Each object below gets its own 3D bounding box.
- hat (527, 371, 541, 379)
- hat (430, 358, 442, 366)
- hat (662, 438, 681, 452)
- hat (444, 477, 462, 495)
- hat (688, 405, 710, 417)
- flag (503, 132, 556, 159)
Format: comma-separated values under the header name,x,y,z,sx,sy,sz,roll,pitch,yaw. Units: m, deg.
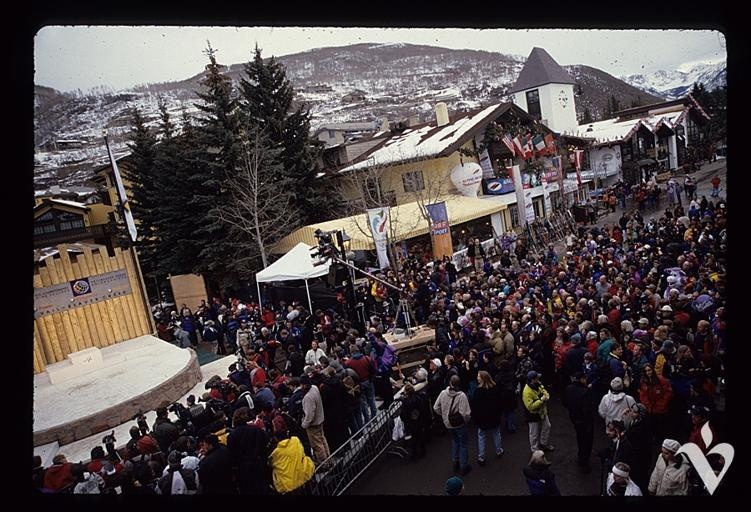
name,x,y,z,sx,sy,sz,roll,pitch,yaw
hat,2.624,1.968,8.575,0.177,0.140,0.125,-27,40,24
hat,1.135,2.028,9.675,0.164,0.052,0.158,32,20,-37
hat,3.810,2.482,6.616,0.197,0.104,0.135,-22,18,-39
hat,1.003,3.012,6.644,0.198,0.191,0.233,-9,7,-5
hat,4.491,2.148,7.114,0.215,0.113,0.276,-3,8,38
flag,7.703,-5.570,25.623,2.757,1.252,1.209,-13,9,-38
